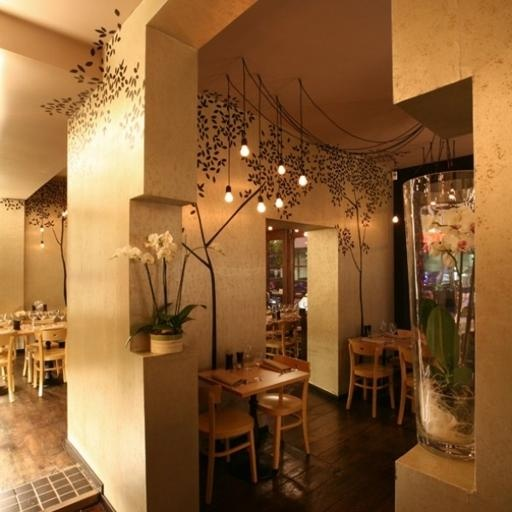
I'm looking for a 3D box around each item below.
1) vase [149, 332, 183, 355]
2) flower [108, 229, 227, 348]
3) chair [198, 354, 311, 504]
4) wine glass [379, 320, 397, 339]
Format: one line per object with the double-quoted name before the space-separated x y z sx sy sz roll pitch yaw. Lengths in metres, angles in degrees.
"vase" -0.566 0.528 2.735 0.217 0.108 0.155 1 -1 2
"flower" -0.575 0.200 3.025 0.588 0.883 0.640 0 -2 1
"chair" -0.118 1.381 3.847 0.791 0.801 1.194 0 -1 40
"wine glass" 1.869 1.019 6.288 0.189 0.395 0.222 0 -5 3
